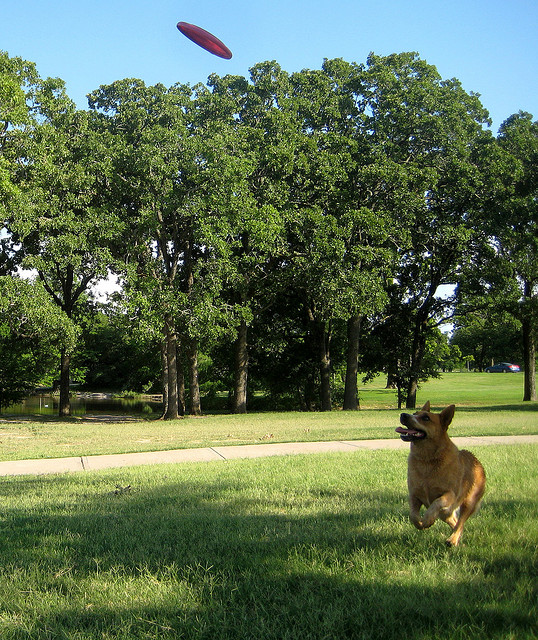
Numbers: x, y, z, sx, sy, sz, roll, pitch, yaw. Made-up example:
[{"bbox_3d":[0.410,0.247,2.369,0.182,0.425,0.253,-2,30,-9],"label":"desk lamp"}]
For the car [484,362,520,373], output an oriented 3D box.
[{"bbox_3d":[26.931,5.627,96.689,1.499,0.987,3.122,4,-2,-27],"label":"car"}]
